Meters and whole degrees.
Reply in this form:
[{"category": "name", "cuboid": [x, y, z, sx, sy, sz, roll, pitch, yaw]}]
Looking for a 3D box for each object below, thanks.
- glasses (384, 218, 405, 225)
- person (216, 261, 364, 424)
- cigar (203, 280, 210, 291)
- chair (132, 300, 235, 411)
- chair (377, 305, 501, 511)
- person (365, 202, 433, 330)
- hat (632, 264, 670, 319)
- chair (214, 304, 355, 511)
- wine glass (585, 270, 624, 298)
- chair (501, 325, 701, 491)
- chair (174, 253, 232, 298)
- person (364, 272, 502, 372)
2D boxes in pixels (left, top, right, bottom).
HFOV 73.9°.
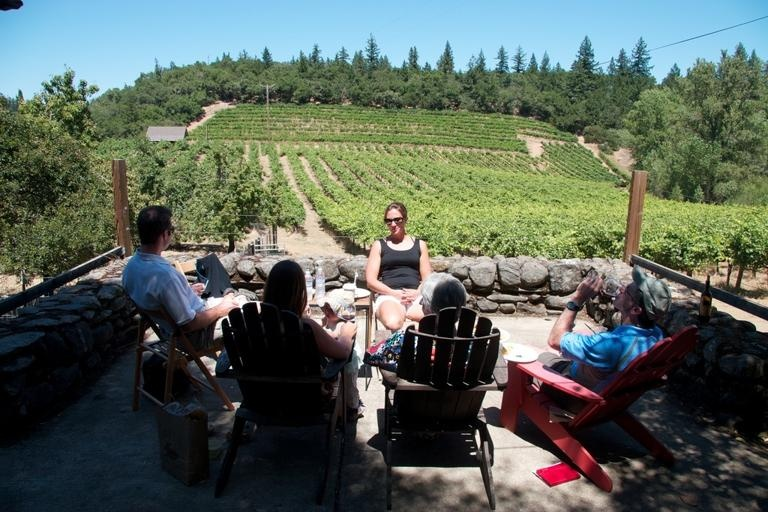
[{"category": "glasses", "cuboid": [0.122, -0.402, 5.782, 0.216, 0.078, 0.125, 3, 15, 5]}, {"category": "person", "cuboid": [-0.463, 0.564, 4.330, 0.970, 1.371, 1.344, 2, 11, 7]}, {"category": "cigar", "cuboid": [-1.954, 0.305, 5.612, 0.084, 0.113, 0.027, -5, -20, 0]}, {"category": "chair", "cuboid": [-1.971, 0.959, 5.027, 0.797, 1.089, 0.795, -4, 8, -41]}, {"category": "chair", "cuboid": [0.439, 1.120, 4.089, 0.996, 1.507, 0.850, 4, 15, 9]}, {"category": "person", "cuboid": [0.234, 0.366, 5.653, 0.735, 1.865, 1.054, -2, 5, -12]}, {"category": "hat", "cuboid": [2.208, 0.291, 4.231, 0.293, 0.436, 0.231, -20, 7, -32]}, {"category": "chair", "cuboid": [-0.801, 1.071, 4.092, 0.979, 1.513, 0.782, 2, 15, 1]}, {"category": "wine glass", "cuboid": [2.497, 0.325, 5.744, 0.345, 0.233, 0.472, 17, -3, -1]}, {"category": "chair", "cuboid": [1.879, 1.128, 4.840, 1.290, 1.553, 1.630, -4, 10, -30]}, {"category": "chair", "cuboid": [-1.957, 0.202, 5.736, 0.378, 0.437, 0.331, -15, 14, -5]}, {"category": "person", "cuboid": [0.394, 0.482, 4.489, 0.765, 1.107, 0.807, 4, 22, -18]}]
